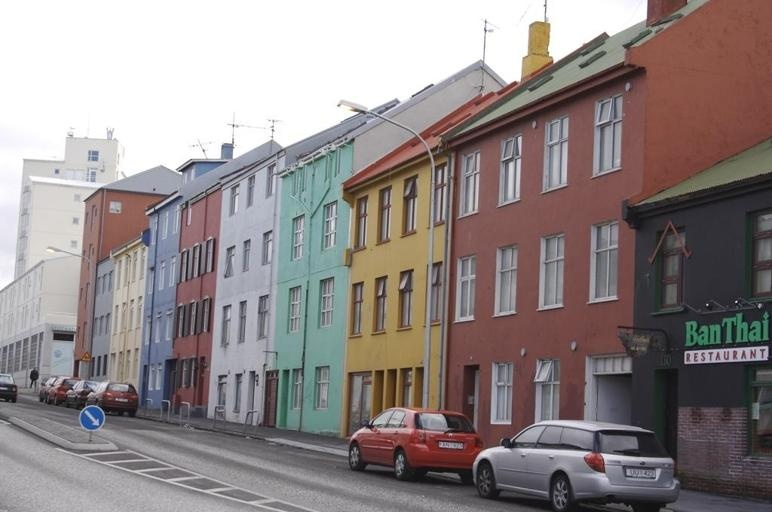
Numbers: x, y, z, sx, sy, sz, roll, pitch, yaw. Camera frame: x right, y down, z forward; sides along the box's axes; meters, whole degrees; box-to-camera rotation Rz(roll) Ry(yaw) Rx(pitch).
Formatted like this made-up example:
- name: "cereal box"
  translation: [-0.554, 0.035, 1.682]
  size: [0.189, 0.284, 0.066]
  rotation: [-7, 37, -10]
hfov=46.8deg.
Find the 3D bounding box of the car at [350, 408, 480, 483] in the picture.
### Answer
- name: "car"
  translation: [0.818, 5.683, 27.106]
  size: [3.811, 2.208, 1.591]
  rotation: [-14, -21, 39]
